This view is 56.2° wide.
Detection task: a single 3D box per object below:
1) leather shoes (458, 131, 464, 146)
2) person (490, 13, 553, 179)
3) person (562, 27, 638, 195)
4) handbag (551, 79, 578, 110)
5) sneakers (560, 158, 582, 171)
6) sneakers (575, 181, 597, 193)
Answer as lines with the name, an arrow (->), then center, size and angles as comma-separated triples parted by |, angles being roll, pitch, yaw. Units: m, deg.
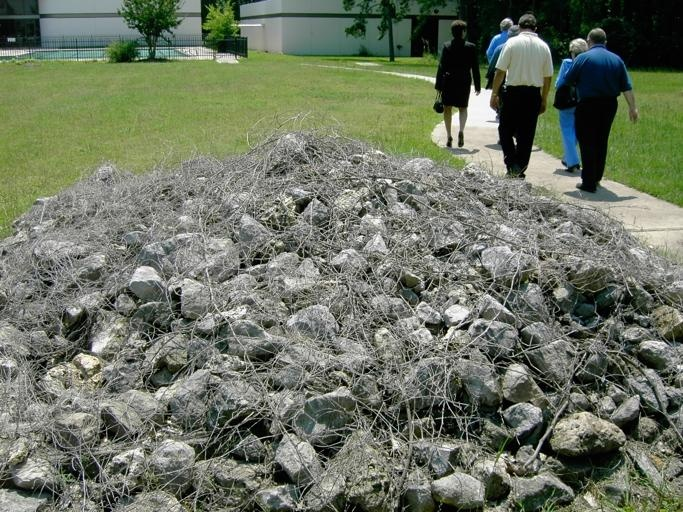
leather shoes -> 2.128, -2.086, 11.329 | 0.077, 0.298, 0.104 | 0, 6, 11
person -> 2.515, -2.126, 8.975 | 0.785, 1.941, 0.493 | 6, 17, 15
person -> 3.665, -2.085, 9.120 | 0.853, 2.170, 0.707 | -1, 17, -9
handbag -> 3.372, -2.459, 9.790 | 0.356, 0.566, 0.288 | 7, 24, 18
sneakers -> 3.674, -1.479, 10.232 | 0.117, 0.195, 0.410 | -8, 14, -6
sneakers -> 3.533, -0.995, 9.145 | 0.112, 0.158, 0.329 | 8, 20, -7
